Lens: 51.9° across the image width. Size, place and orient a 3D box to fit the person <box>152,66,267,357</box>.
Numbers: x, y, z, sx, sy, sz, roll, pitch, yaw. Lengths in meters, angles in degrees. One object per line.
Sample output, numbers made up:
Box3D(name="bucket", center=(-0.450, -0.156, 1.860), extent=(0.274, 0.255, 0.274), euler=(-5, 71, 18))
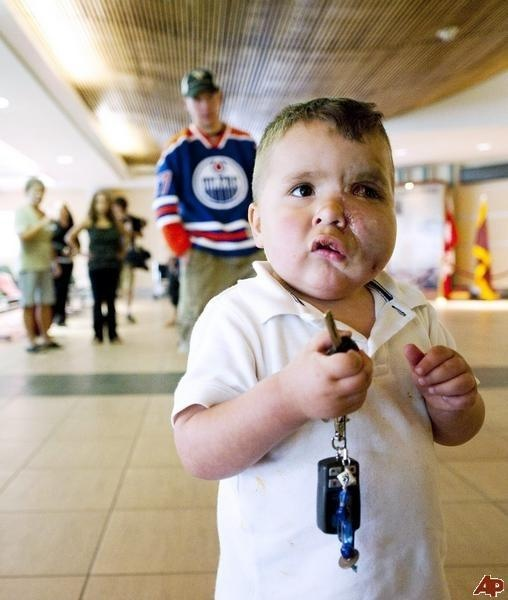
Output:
Box3D(name="person", center=(-0.212, -0.279, 1.722), extent=(0.263, 0.887, 0.247), euler=(-7, 20, -44))

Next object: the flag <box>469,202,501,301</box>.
Box3D(name="flag", center=(3.775, -0.721, 8.540), extent=(0.423, 1.728, 0.465), euler=(1, 11, 8))
